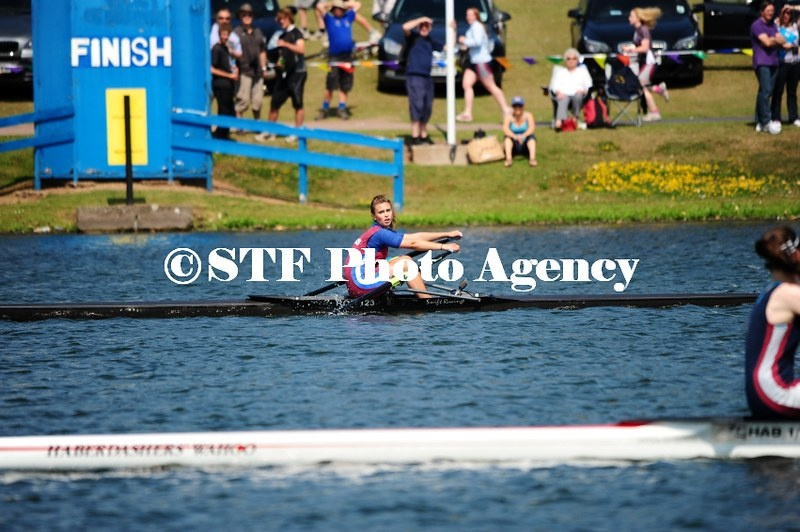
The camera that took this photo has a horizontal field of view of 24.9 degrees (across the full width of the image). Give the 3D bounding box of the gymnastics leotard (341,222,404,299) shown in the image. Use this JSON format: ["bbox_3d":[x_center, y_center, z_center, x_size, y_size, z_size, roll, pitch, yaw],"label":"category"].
[{"bbox_3d":[-0.460,-0.055,29.563,0.920,1.252,0.222,-2,15,-4],"label":"gymnastics leotard"}]

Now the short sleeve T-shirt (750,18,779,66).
[{"bbox_3d":[7.461,-4.647,37.353,0.576,1.004,0.345,2,15,9],"label":"short sleeve T-shirt"}]

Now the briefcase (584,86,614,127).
[{"bbox_3d":[4.117,-3.390,38.263,0.640,0.818,0.293,3,-3,-26],"label":"briefcase"}]

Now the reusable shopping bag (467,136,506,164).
[{"bbox_3d":[1.731,-2.374,37.193,0.932,0.664,0.513,-11,6,-18],"label":"reusable shopping bag"}]

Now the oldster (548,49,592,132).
[{"bbox_3d":[3.534,-3.743,37.925,0.717,1.922,0.740,2,1,12],"label":"oldster"}]

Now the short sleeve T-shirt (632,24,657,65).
[{"bbox_3d":[5.046,-4.679,37.985,0.462,0.884,0.805,3,16,14],"label":"short sleeve T-shirt"}]

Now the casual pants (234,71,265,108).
[{"bbox_3d":[-3.141,-3.723,37.670,0.378,0.976,0.721,3,-1,42],"label":"casual pants"}]

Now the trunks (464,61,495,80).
[{"bbox_3d":[1.632,-4.191,38.497,0.360,0.498,0.603,0,3,-39],"label":"trunks"}]

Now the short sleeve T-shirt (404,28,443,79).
[{"bbox_3d":[0.364,-4.369,36.938,0.507,0.936,0.538,0,15,4],"label":"short sleeve T-shirt"}]

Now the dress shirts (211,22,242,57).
[{"bbox_3d":[-3.577,-4.763,37.710,0.764,0.793,0.295,11,33,0],"label":"dress shirts"}]
